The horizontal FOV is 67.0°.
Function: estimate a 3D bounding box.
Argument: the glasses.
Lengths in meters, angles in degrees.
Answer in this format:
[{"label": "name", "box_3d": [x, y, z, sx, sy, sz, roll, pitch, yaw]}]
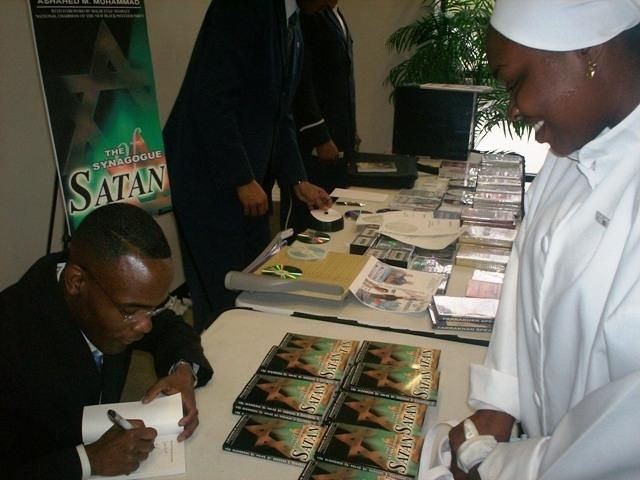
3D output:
[{"label": "glasses", "box_3d": [-0.547, 0.146, 1.342, 0.045, 0.169, 0.164, -37, -3, 14]}]

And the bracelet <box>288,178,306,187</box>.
[{"label": "bracelet", "box_3d": [-0.131, -0.313, 2.631, 0.045, 0.017, 0.039, -14, 39, -11]}]

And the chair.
[{"label": "chair", "box_3d": [0.773, -0.792, 3.258, 0.632, 0.563, 0.293, 6, 24, 5]}]
